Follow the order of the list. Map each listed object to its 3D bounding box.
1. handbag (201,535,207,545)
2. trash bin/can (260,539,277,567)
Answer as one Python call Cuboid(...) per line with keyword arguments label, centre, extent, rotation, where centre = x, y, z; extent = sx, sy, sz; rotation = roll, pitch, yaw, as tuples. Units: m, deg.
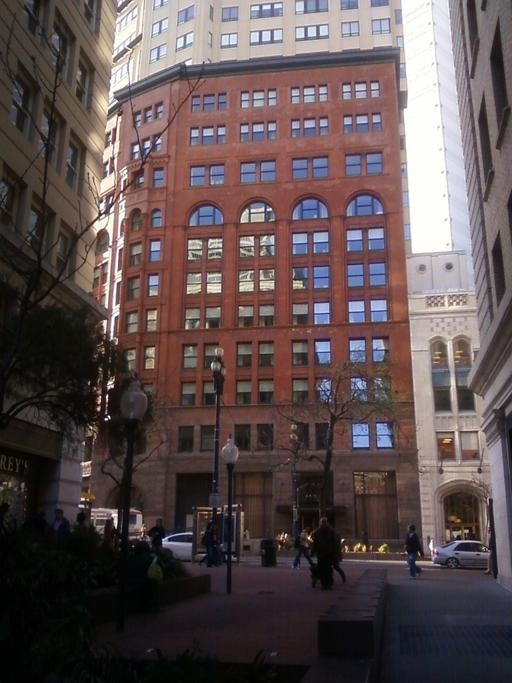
Cuboid(label="handbag", centre=(-2.379, 9.087, 25.664), extent=(0.116, 0.468, 0.386), rotation=(7, -19, -21))
Cuboid(label="trash bin/can", centre=(0.615, 10.631, 28.046), extent=(0.681, 1.221, 2.026), rotation=(1, -18, -1))
